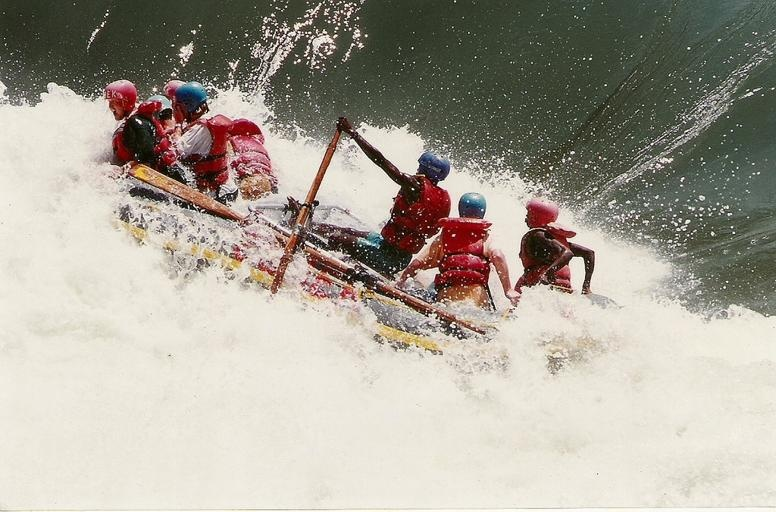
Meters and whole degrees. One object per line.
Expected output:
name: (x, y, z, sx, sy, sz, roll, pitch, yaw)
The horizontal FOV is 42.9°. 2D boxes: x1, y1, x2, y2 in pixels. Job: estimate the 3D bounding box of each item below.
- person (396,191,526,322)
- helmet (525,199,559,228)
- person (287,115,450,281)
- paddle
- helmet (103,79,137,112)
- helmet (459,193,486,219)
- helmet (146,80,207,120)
person: (0.442, 0.032, 6.367, 0.650, 0.849, 0.288, 15, 25, 13)
helmet: (0.985, -0.270, 6.470, 0.191, 0.176, 0.191, -2, 30, -46)
person: (-0.305, -0.366, 6.577, 1.391, 0.886, 0.791, 7, -7, -8)
paddle: (-0.539, -0.003, 6.265, 2.376, 0.187, 0.149, 24, -11, -2)
helmet: (-1.701, -1.019, 6.348, 0.204, 0.181, 0.162, -1, 31, -37)
helmet: (0.531, -0.315, 6.411, 0.171, 0.150, 0.164, 9, 10, 2)
helmet: (-1.340, -1.040, 6.486, 0.338, 0.260, 0.166, 40, 27, 20)
